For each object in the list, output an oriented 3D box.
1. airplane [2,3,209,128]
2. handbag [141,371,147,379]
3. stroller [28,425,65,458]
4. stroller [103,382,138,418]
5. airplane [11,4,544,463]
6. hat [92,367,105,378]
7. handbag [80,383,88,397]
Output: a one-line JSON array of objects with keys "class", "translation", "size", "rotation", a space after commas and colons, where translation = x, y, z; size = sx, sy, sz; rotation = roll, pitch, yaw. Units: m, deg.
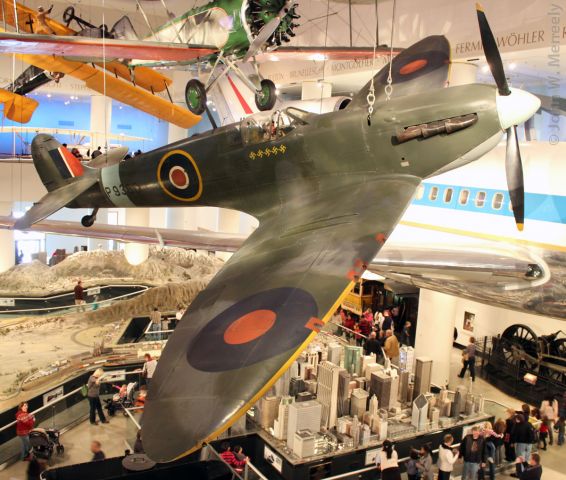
[{"class": "airplane", "translation": [-5.120, -4.705, 13.379], "size": [5.512, 1.592, 4.896], "rotation": [31, 28, 24]}, {"class": "handbag", "translation": [-3.020, 2.976, 10.072], "size": [0.057, 0.138, 0.146], "rotation": [12, -13, -43]}, {"class": "stroller", "translation": [-4.575, 3.846, 8.906], "size": [0.467, 0.646, 0.689], "rotation": [0, 1, 7]}, {"class": "stroller", "translation": [-3.548, 3.509, 10.084], "size": [0.799, 0.710, 0.627], "rotation": [0, -6, 4]}, {"class": "airplane", "translation": [-0.481, -0.635, 6.242], "size": [4.031, 4.029, 5.434], "rotation": [-1, 5, -34]}, {"class": "hat", "translation": [-3.949, 2.891, 9.974], "size": [0.183, 0.093, 0.243], "rotation": [-34, -20, -7]}, {"class": "handbag", "translation": [-4.451, 3.368, 10.270], "size": [0.072, 0.230, 0.239], "rotation": [10, 20, 28]}]
